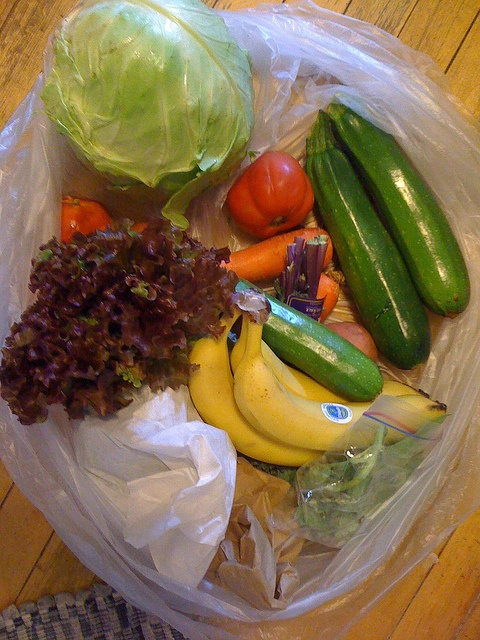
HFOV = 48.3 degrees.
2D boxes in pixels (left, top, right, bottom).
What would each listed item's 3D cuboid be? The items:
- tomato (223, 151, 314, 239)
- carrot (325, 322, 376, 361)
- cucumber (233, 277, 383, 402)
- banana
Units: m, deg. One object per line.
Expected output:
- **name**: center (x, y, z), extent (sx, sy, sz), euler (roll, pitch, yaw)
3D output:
- **tomato**: center (0.048, -0.187, 0.863), extent (0.131, 0.121, 0.113), euler (-36, 85, 8)
- **carrot**: center (0.171, 0.041, 0.862), extent (0.068, 0.056, 0.039), euler (38, 101, 36)
- **cucumber**: center (0.096, 0.031, 0.754), extent (0.205, 0.062, 0.059), euler (39, 82, 13)
- **banana**: center (0.126, 0.085, 0.733), extent (0.328, 0.194, 0.113), euler (9, 27, -16)
